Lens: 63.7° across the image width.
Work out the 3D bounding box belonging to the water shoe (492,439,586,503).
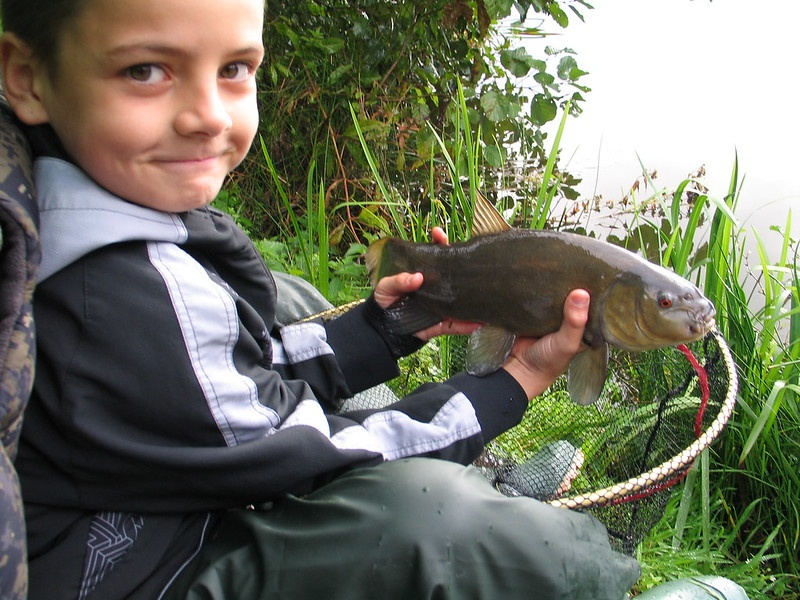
[{"bbox_3d":[0.449,0.502,2.023,0.243,0.096,0.162,-15,33,-30],"label":"water shoe"}]
